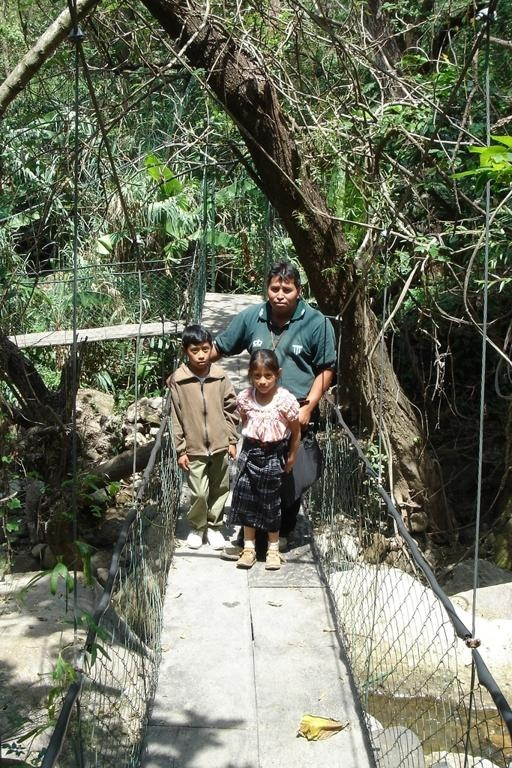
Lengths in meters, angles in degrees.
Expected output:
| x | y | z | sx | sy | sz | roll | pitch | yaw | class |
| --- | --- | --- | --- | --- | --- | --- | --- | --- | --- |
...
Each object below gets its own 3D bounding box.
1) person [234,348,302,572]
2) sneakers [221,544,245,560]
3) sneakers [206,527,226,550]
| x | y | z | sx | sy | sz | roll | pitch | yaw | class |
| --- | --- | --- | --- | --- | --- | --- | --- | --- | --- |
| 0.043 | 0.362 | 3.079 | 0.299 | 1.068 | 0.311 | 3 | 9 | -11 | person |
| -0.122 | 0.837 | 3.212 | 0.111 | 0.051 | 0.047 | 14 | -2 | -14 | sneakers |
| -0.213 | 0.808 | 3.343 | 0.050 | 0.059 | 0.146 | 0 | 37 | -23 | sneakers |
